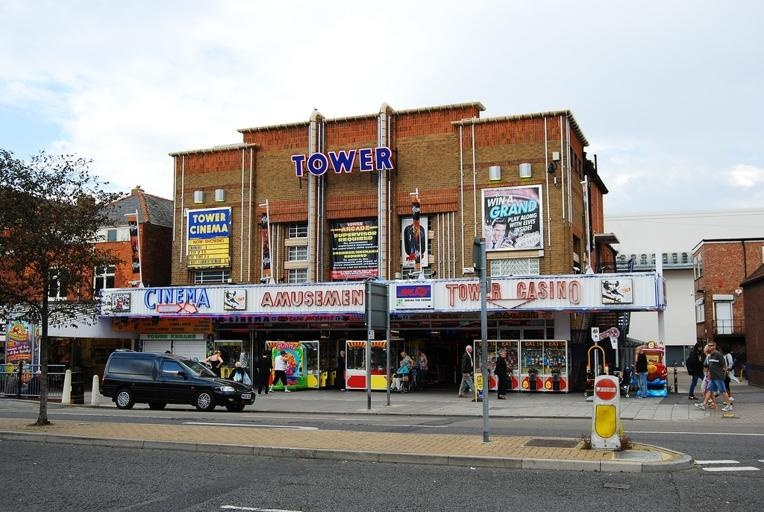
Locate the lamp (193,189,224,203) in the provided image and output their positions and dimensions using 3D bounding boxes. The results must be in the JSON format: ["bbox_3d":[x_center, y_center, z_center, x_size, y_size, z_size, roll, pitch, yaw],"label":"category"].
[{"bbox_3d":[-9.993,-3.452,46.719,2.114,0.844,0.467,-5,-7,23],"label":"lamp"}]

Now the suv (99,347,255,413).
[{"bbox_3d":[-7.883,4.793,31.618,5.399,2.119,2.416,-2,-9,14],"label":"suv"}]

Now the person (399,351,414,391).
[{"bbox_3d":[1.105,5.416,38.438,0.630,1.832,1.161,-2,-7,2],"label":"person"}]

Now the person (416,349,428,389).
[{"bbox_3d":[1.892,5.560,39.755,0.501,1.808,1.343,-2,-7,2],"label":"person"}]

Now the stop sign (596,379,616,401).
[{"bbox_3d":[5.345,3.192,19.459,0.513,0.514,0.163,-1,-3,21],"label":"stop sign"}]

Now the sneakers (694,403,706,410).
[{"bbox_3d":[11.082,5.252,28.465,0.286,0.227,0.675,-18,-8,15],"label":"sneakers"}]
